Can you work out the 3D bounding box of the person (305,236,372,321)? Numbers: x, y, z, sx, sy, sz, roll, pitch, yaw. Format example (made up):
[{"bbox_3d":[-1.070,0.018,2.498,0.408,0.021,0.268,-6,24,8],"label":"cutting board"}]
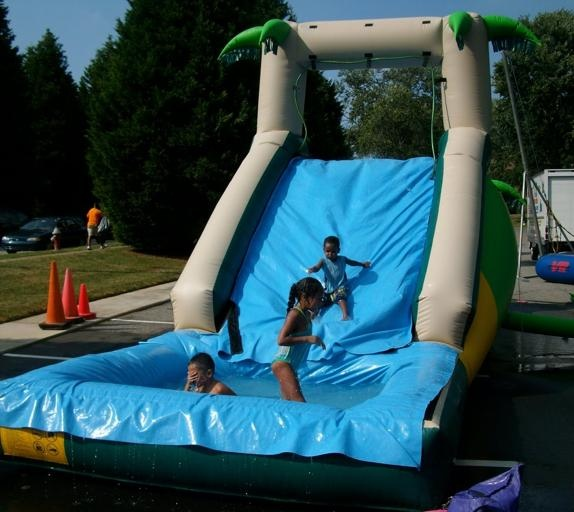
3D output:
[{"bbox_3d":[0.581,0.303,6.404,1.013,1.030,0.696,-7,-11,10],"label":"person"}]

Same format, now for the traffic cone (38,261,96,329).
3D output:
[{"bbox_3d":[-3.632,0.748,8.469,0.611,1.221,0.954,-2,-3,1],"label":"traffic cone"}]

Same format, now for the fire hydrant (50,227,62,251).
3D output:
[{"bbox_3d":[-8.395,-0.610,19.748,0.332,0.777,0.950,-2,7,-23],"label":"fire hydrant"}]

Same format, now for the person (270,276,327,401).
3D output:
[{"bbox_3d":[0.070,0.687,4.405,0.367,1.005,0.565,2,6,13],"label":"person"}]
